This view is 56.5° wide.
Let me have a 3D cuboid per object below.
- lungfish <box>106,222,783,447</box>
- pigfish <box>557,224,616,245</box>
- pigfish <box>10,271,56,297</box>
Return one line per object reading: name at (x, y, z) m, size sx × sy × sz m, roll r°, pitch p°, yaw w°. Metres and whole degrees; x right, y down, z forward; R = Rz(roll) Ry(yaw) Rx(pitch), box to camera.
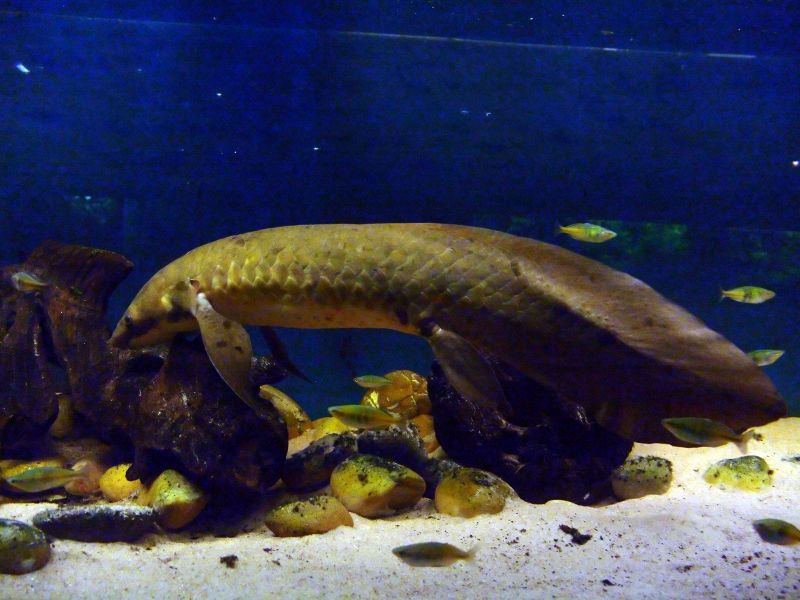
lungfish at (0.298, 0.131, 3.839) m, size 3.182 × 0.895 × 0.665 m, roll 3°, pitch 22°, yaw 4°
pigfish at (1.205, -0.423, 4.752) m, size 0.309 × 0.118 × 0.071 m, roll 11°, pitch -5°, yaw 14°
pigfish at (-2.116, -0.092, 4.266) m, size 0.201 × 0.131 × 0.084 m, roll 9°, pitch 24°, yaw 20°
